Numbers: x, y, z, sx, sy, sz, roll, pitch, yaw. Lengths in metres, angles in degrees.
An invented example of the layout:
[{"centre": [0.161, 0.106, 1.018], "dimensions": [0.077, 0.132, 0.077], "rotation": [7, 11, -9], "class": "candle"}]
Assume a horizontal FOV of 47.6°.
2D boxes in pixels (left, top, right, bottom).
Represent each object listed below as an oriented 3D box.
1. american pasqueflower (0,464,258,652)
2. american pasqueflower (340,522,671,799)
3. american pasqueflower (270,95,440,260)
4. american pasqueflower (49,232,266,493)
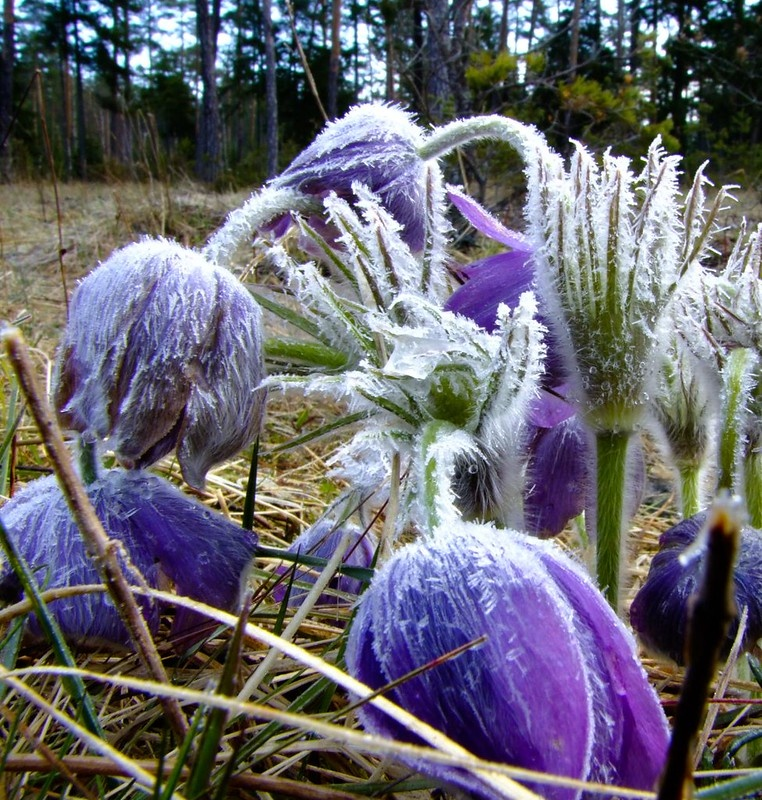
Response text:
[{"centre": [-0.256, 0.170, 0.839], "dimensions": [0.254, 0.189, 0.139], "rotation": [2, 14, -2], "class": "american pasqueflower"}, {"centre": [0.092, 0.185, 0.627], "dimensions": [0.214, 0.162, 0.126], "rotation": [12, 16, 34], "class": "american pasqueflower"}, {"centre": [-0.039, -0.268, 1.036], "dimensions": [0.154, 0.174, 0.142], "rotation": [-8, 17, -38], "class": "american pasqueflower"}, {"centre": [-0.215, -0.028, 0.845], "dimensions": [0.204, 0.235, 0.114], "rotation": [-1, 15, -17], "class": "american pasqueflower"}]
